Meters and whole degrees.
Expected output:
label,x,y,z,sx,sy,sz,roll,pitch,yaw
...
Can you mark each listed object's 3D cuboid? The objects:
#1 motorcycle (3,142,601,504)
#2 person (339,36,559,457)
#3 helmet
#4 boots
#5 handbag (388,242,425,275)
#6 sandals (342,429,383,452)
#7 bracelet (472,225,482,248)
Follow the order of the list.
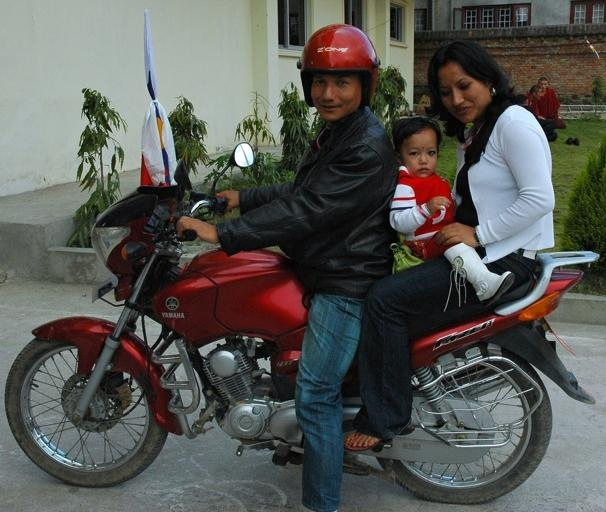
label,x,y,z,sx,sy,sz,roll,pitch,yaw
motorcycle,-0.399,0.313,3.285,3.402,1.769,1.360,2,1,5
person,0.668,-0.046,2.338,0.619,1.689,0.927,12,19,38
helmet,0.172,-0.857,2.492,0.338,0.289,0.378,3,30,12
boots,0.708,0.082,2.207,0.128,0.249,0.353,-44,-4,-11
handbag,0.443,0.008,2.354,0.132,0.049,0.124,22,19,37
sandals,0.241,0.773,2.322,0.190,0.069,0.047,2,57,-6
bracelet,0.715,-0.082,2.278,0.030,0.071,0.066,-12,28,5
